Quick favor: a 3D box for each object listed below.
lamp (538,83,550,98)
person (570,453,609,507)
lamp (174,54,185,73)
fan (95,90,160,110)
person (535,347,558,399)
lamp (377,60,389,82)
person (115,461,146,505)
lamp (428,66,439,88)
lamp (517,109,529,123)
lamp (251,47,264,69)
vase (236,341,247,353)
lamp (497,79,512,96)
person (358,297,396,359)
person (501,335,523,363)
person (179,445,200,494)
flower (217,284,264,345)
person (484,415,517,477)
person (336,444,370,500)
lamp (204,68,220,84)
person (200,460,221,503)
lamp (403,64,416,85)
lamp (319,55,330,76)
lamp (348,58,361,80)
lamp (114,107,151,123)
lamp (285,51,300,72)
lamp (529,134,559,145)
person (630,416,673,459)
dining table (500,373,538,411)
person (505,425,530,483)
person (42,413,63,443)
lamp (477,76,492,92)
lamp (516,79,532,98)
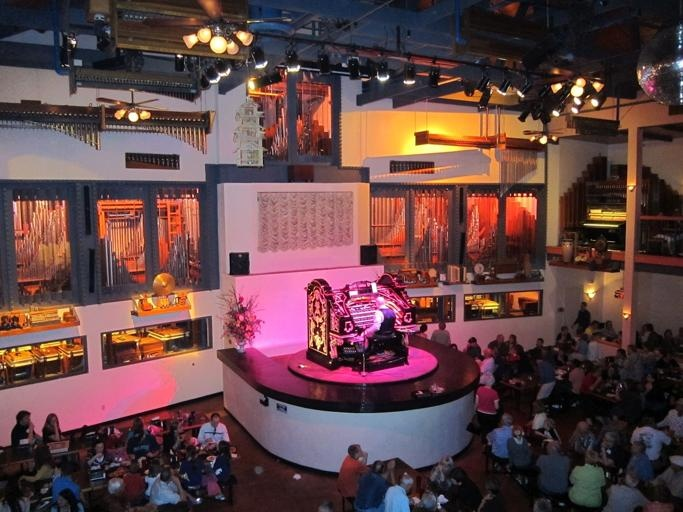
[{"bbox_3d":[3.781,-3.076,11.596,0.225,0.193,0.201,0,6,17],"label":"lamp"},{"bbox_3d":[3.991,3.624,10.151,0.560,0.984,0.343,0,6,17],"label":"person"},{"bbox_3d":[-2.947,-3.541,11.363,0.184,0.284,0.368,-3,6,-12],"label":"lamp"},{"bbox_3d":[-4.401,-3.190,12.623,0.795,0.333,0.785,1,5,16],"label":"fan"},{"bbox_3d":[4.670,2.707,14.200,0.398,0.959,1.658,0,6,19],"label":"person"},{"bbox_3d":[0.804,-3.433,11.526,0.270,0.389,0.279,1,3,23],"label":"lamp"},{"bbox_3d":[-3.421,3.689,10.100,0.504,0.833,0.487,2,10,-10],"label":"person"},{"bbox_3d":[1.784,-3.476,11.991,0.183,0.345,0.297,-1,6,10],"label":"lamp"},{"bbox_3d":[3.750,-2.907,12.783,0.184,0.250,0.879,-1,6,14],"label":"lamp"},{"bbox_3d":[-1.409,-3.399,10.554,0.225,0.345,0.313,-3,6,-10],"label":"lamp"},{"bbox_3d":[-2.247,2.030,13.993,0.216,0.234,0.216,3,-3,-12],"label":"vase"},{"bbox_3d":[3.092,-3.222,11.828,0.249,0.277,0.515,-1,6,14],"label":"lamp"},{"bbox_3d":[0.809,1.448,13.153,0.549,1.117,0.918,0,6,21],"label":"person"},{"bbox_3d":[4.182,2.206,15.282,0.481,0.540,1.046,-1,6,11],"label":"person"},{"bbox_3d":[-2.568,3.628,10.598,0.360,0.875,0.237,-3,6,-16],"label":"person"},{"bbox_3d":[-2.375,1.387,14.250,1.065,1.341,0.869,0,6,16],"label":"flower"},{"bbox_3d":[2.978,3.492,11.652,0.500,1.195,0.656,5,8,-3],"label":"person"},{"bbox_3d":[0.237,3.520,10.394,0.517,0.954,0.418,-9,26,-25],"label":"person"},{"bbox_3d":[-2.245,-3.267,11.144,0.222,0.279,0.164,-3,45,31],"label":"lamp"},{"bbox_3d":[-2.227,3.921,10.799,0.292,0.731,0.308,-3,5,-7],"label":"person"},{"bbox_3d":[1.278,-3.459,11.724,0.179,0.348,0.242,-2,5,-2],"label":"lamp"},{"bbox_3d":[-0.287,-3.469,11.174,0.270,0.349,0.138,-6,7,-38],"label":"lamp"},{"bbox_3d":[0.228,-3.489,11.471,0.212,0.403,0.296,-2,5,1],"label":"lamp"},{"bbox_3d":[-4.061,-2.750,12.025,0.425,0.191,0.439,2,1,10],"label":"lamp"},{"bbox_3d":[-0.849,-3.434,10.895,0.228,0.334,0.321,-1,5,6],"label":"lamp"},{"bbox_3d":[5.268,-3.073,16.301,0.683,0.299,0.678,-14,18,-42],"label":"lamp"},{"bbox_3d":[5.652,3.537,11.522,0.766,0.989,0.543,-8,13,25],"label":"person"},{"bbox_3d":[4.073,3.090,14.310,0.835,0.761,1.365,0,6,16],"label":"dining table"},{"bbox_3d":[3.182,3.569,11.066,0.419,1.221,0.492,0,6,16],"label":"person"},{"bbox_3d":[-5.355,3.164,11.508,0.291,0.471,0.762,-4,6,-25],"label":"person"},{"bbox_3d":[2.645,-3.241,11.643,0.200,0.277,0.265,0,6,17],"label":"lamp"},{"bbox_3d":[3.440,-3.122,11.638,0.115,0.304,0.176,17,27,-40],"label":"lamp"}]
